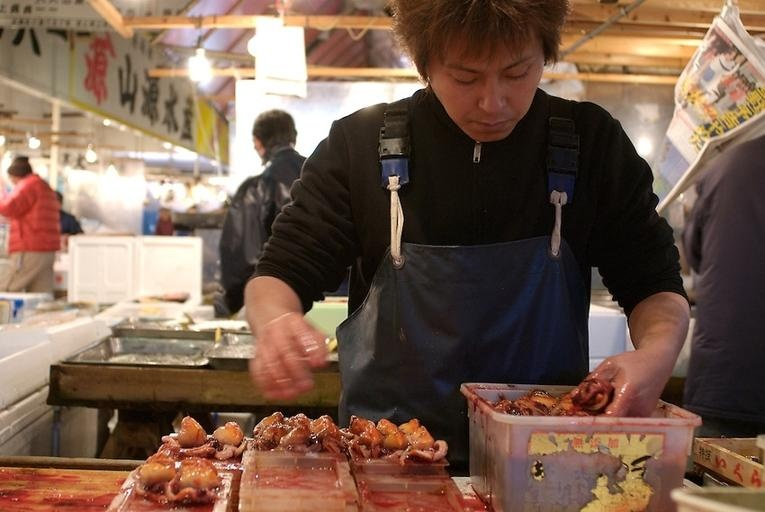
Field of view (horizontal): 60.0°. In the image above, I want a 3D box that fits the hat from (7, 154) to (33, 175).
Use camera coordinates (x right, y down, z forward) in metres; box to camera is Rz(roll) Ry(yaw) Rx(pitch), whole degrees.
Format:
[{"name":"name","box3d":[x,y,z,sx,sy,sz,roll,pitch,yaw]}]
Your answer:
[{"name":"hat","box3d":[-2.647,-0.668,4.860,0.112,0.151,0.154,1,-3,-4]}]
